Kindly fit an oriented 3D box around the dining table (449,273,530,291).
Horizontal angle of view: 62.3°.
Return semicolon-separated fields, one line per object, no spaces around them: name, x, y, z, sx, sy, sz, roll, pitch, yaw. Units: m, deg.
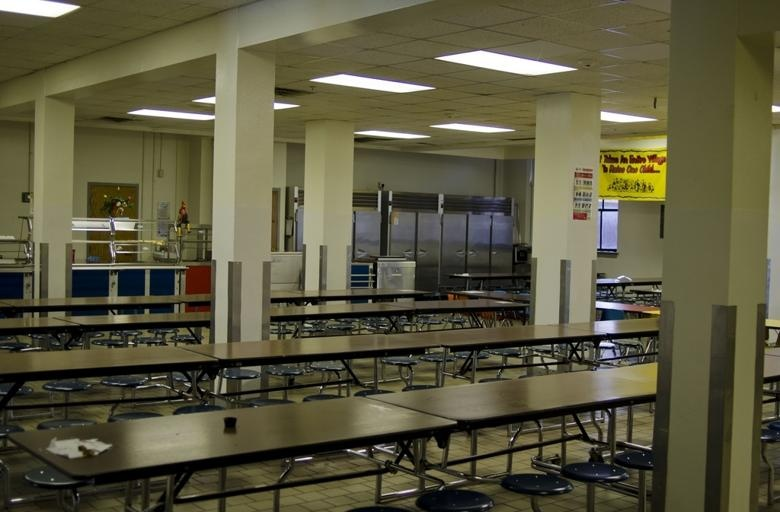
dining table;2.323;0.610;15.523;1.826;0.452;3.095;0;2;9

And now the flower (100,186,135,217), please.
flower;-6.451;-1.332;15.431;0.809;0.774;0.491;-1;2;-27

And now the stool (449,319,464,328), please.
stool;1.179;1.193;11.474;0.400;0.150;0.548;-1;0;8

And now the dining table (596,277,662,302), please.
dining table;5.299;0.760;14.339;1.155;0.638;4.197;1;2;20

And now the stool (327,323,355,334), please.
stool;-0.769;1.117;10.021;0.469;0.131;0.467;0;-1;39
